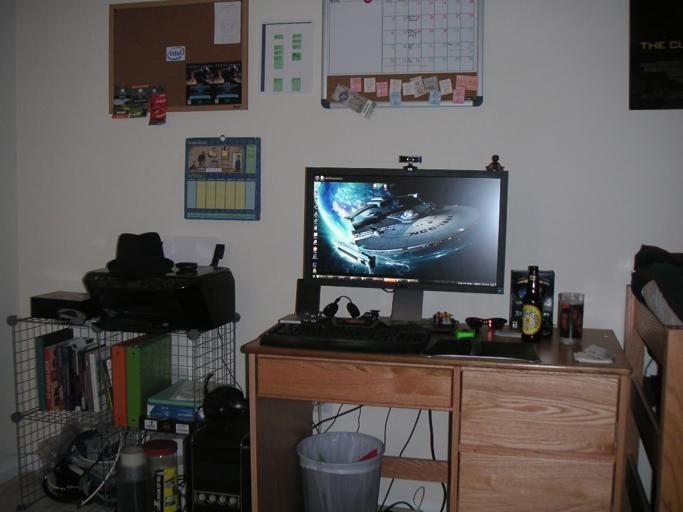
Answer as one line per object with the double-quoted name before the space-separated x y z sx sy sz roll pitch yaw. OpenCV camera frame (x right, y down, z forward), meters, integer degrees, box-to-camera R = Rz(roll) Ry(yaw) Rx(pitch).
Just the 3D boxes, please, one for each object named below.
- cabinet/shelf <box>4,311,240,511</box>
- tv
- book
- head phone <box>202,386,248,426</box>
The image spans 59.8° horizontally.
"cabinet/shelf" -1.045 0.777 2.947 0.977 0.922 0.345 1 5 -1
"tv" 0.295 -0.053 2.728 0.743 0.559 0.196 2 6 7
"book" -1.209 0.606 3.076 0.612 0.408 0.330 2 6 17
"head phone" -0.542 0.692 2.759 0.188 0.153 0.068 -2 11 -11
